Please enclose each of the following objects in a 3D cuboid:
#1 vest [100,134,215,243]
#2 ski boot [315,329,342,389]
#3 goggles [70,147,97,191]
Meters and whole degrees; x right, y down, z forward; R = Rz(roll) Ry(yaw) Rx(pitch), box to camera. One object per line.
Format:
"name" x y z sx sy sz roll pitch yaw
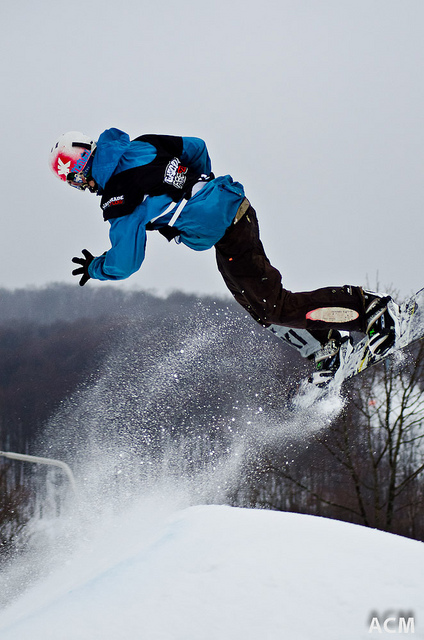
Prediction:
"vest" -0.343 -0.883 4.915 0.734 0.740 0.239 -3 -7 -7
"ski boot" 0.920 0.299 5.759 0.204 0.422 0.172 7 1 -40
"goggles" -0.845 -1.010 5.117 0.146 0.252 0.190 21 8 -4
